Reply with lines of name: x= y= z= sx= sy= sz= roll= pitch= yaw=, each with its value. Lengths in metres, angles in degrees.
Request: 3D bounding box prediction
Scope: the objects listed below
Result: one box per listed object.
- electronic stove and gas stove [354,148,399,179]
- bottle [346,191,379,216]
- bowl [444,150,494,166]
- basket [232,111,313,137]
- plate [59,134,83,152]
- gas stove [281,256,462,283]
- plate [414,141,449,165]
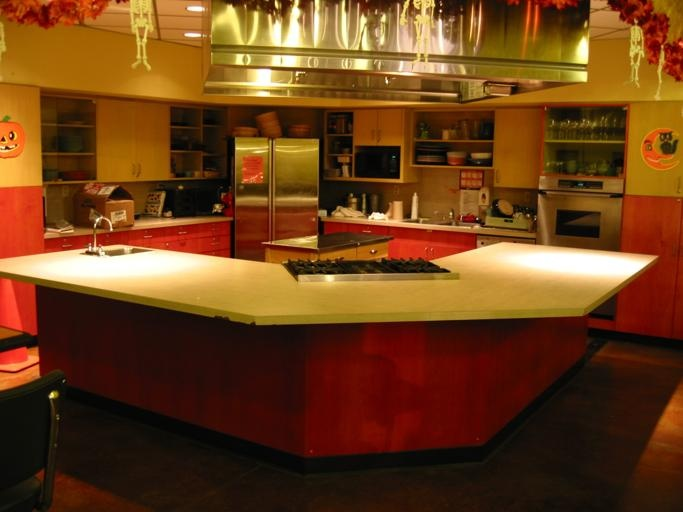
electronic stove and gas stove: x=0.517 y=-1.323 z=7.650 sx=0.741 sy=0.434 sz=0.491 roll=5 pitch=8 yaw=35
bottle: x=0.342 y=-0.777 z=8.014 sx=0.462 sy=0.296 sz=0.302 roll=3 pitch=6 yaw=20
bowl: x=1.724 y=-1.318 z=7.190 sx=0.432 sy=0.139 sz=0.264 roll=0 pitch=5 yaw=15
basket: x=-0.986 y=-1.836 z=7.676 sx=0.880 sy=0.287 sz=0.552 roll=-1 pitch=2 yaw=-3
plate: x=-3.170 y=-1.311 z=6.271 sx=0.256 sy=0.189 sz=0.106 roll=-6 pitch=12 yaw=-34
gas stove: x=0.192 y=0.091 z=3.968 sx=1.214 sy=0.065 sz=0.533 roll=-1 pitch=10 yaw=-9
plate: x=1.241 y=-1.425 z=7.477 sx=0.413 sy=0.153 sz=0.390 roll=-2 pitch=8 yaw=-13
